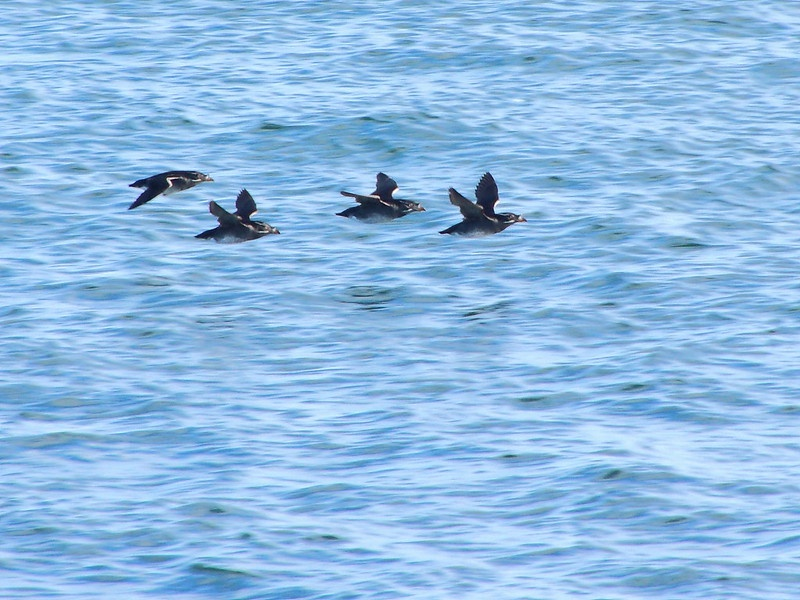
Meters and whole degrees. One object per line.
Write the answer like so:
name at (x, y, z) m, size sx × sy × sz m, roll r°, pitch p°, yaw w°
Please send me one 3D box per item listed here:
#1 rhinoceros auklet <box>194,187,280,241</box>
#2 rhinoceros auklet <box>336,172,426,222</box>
rhinoceros auklet at (-3.894, -1.761, 32.548) m, size 2.568 × 0.593 × 1.960 m, roll -4°, pitch 9°, yaw -8°
rhinoceros auklet at (-0.435, -2.269, 33.310) m, size 1.924 × 1.729 × 0.651 m, roll -5°, pitch 64°, yaw -13°
